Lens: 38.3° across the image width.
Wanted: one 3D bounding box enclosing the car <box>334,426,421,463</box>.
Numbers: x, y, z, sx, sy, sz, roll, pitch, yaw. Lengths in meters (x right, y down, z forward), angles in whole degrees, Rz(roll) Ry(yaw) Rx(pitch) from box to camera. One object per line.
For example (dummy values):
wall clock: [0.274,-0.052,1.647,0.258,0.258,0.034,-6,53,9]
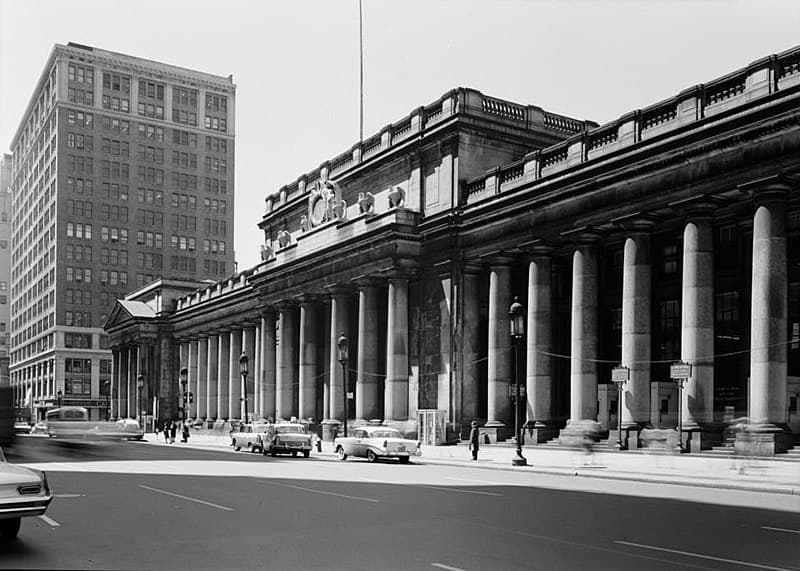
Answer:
car: [-1.199,8.064,58.164,1.791,2.009,4.317,10,-17,-38]
